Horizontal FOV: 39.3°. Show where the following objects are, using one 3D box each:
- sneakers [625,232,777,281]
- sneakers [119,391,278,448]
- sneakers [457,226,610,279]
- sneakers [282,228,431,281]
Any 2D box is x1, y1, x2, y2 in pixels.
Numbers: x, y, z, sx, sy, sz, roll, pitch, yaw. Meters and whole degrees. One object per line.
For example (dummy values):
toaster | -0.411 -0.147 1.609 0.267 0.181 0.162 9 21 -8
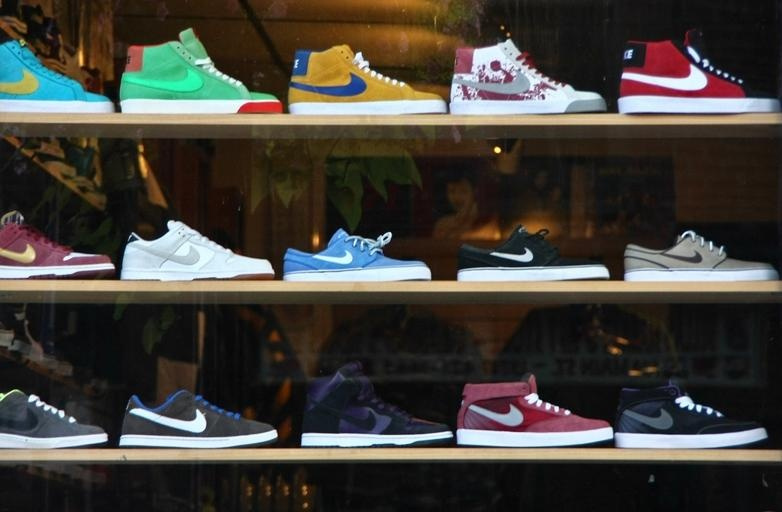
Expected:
sneakers | 1.148 0.035 4.196 0.591 0.260 0.220 0 -10 2
sneakers | -0.750 0.634 4.175 0.634 0.277 0.233 1 -10 -3
sneakers | 0.543 0.011 4.171 0.583 0.239 0.204 -2 -15 4
sneakers | -0.145 0.037 4.219 0.597 0.262 0.220 0 -12 -2
